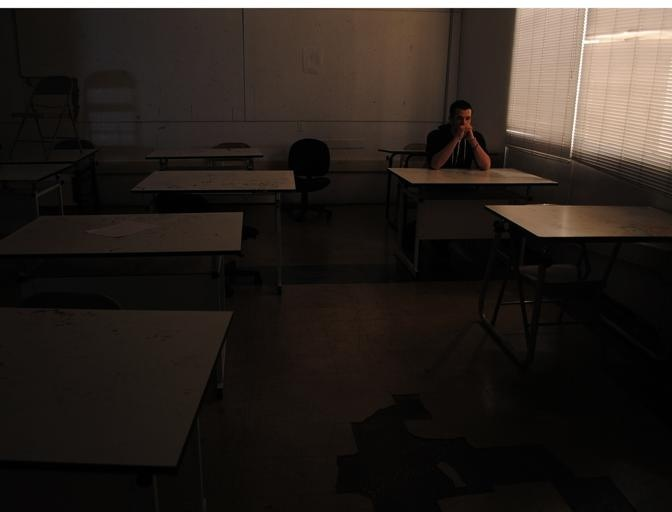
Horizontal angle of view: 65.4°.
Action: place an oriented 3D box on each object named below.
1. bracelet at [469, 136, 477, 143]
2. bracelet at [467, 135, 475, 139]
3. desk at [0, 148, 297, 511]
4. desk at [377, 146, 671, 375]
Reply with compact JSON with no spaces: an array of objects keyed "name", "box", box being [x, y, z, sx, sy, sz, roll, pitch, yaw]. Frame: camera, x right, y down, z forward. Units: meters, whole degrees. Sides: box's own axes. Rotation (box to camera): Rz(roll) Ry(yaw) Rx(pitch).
[{"name":"bracelet","box":[1.263,-1.069,4.820,0.069,0.023,0.073,26,17,4]},{"name":"bracelet","box":[1.236,-1.102,4.814,0.049,0.020,0.073,12,12,38]},{"name":"desk","box":[-1.087,0.014,3.801,1.353,1.040,2.254,-1,23,6]},{"name":"desk","box":[1.581,-0.078,4.126,1.608,0.961,2.337,-10,24,-15]}]
